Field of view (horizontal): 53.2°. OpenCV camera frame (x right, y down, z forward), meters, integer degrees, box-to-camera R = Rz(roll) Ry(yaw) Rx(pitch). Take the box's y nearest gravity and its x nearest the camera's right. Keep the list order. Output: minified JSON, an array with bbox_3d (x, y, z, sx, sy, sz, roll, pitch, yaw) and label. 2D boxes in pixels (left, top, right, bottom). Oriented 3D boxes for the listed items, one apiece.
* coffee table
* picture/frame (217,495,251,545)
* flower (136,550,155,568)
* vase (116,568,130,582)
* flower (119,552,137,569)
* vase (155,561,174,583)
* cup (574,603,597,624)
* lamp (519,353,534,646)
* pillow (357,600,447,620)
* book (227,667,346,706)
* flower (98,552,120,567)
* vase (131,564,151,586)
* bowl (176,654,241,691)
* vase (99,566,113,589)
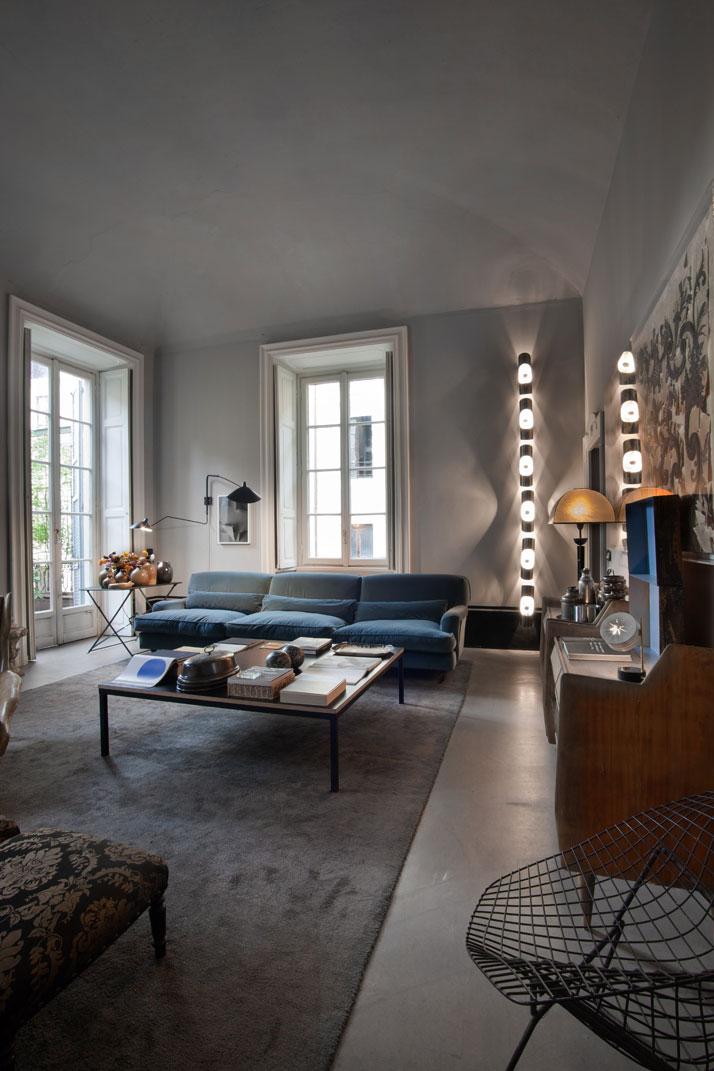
[{"bbox_3d":[-0.411,0.725,3.058,1.042,0.336,0.971,-1,0,18],"label":"coffee table"},{"bbox_3d":[-1.054,-0.124,6.163,0.364,0.539,0.042,3,4,30],"label":"picture/frame"},{"bbox_3d":[-1.653,0.185,5.561,0.129,0.169,0.122,4,4,42],"label":"flower"},{"bbox_3d":[-1.733,0.301,5.279,0.095,0.122,0.099,5,5,13],"label":"vase"},{"bbox_3d":[-1.718,0.194,5.401,0.093,0.054,0.130,3,12,4],"label":"flower"},{"bbox_3d":[-1.514,0.296,5.565,0.135,0.185,0.144,-4,-8,18],"label":"vase"},{"bbox_3d":[1.024,0.346,3.248,0.095,0.113,0.095,-1,-2,0],"label":"cup"},{"bbox_3d":[1.226,-0.273,5.171,0.138,2.112,0.341,-1,1,15],"label":"lamp"},{"bbox_3d":[0.277,0.497,4.669,0.607,0.128,0.325,-1,0,9],"label":"pillow"},{"bbox_3d":[-0.241,0.562,2.710,0.424,0.090,0.357,-1,0,20],"label":"book"},{"bbox_3d":[-1.847,0.182,5.351,0.108,0.057,0.115,4,0,40],"label":"flower"},{"bbox_3d":[-1.589,0.298,5.310,0.128,0.139,0.134,4,6,28],"label":"vase"},{"bbox_3d":[-0.577,0.532,2.797,0.115,0.099,0.192,1,6,7],"label":"bowl"},{"bbox_3d":[-1.875,0.332,5.281,0.091,0.125,0.129,3,5,4],"label":"vase"}]
